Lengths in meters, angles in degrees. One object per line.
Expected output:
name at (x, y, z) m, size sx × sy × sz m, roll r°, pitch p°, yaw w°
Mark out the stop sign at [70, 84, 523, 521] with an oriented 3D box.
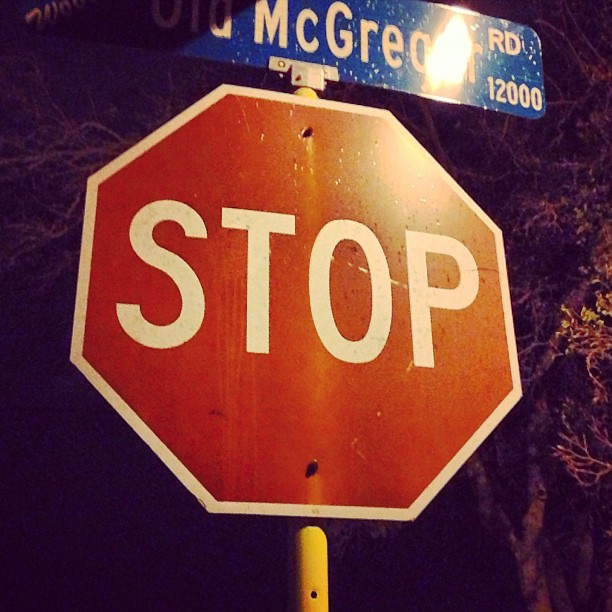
stop sign at (-0.045, 0.019, 2.502) m, size 0.676 × 0.097 × 1.000 m, roll 1°, pitch 72°, yaw -10°
